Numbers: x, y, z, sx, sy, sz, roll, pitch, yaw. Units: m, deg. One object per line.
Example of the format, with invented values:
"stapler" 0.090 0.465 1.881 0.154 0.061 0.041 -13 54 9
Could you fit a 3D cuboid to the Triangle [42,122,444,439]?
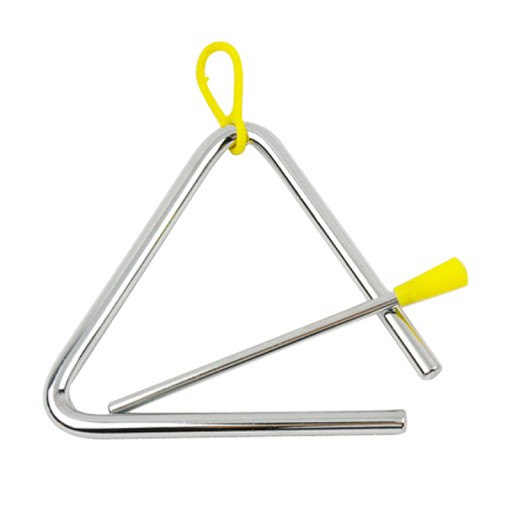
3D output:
"Triangle" -0.028 0.117 1.054 0.672 0.078 0.518 -2 -108 -2
